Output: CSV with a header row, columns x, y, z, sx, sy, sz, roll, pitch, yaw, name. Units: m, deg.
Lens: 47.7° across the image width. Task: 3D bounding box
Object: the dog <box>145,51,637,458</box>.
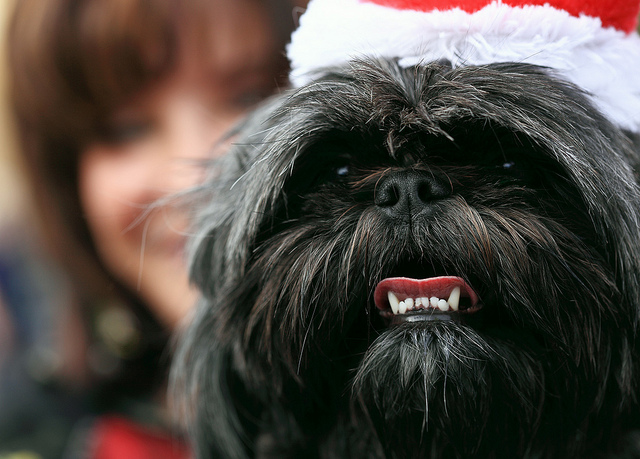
x,y,z,sx,sy,sz,roll,pitch,yaw,name
0.187,0.083,1.441,0.959,0.553,0.666,7,54,4,dog
